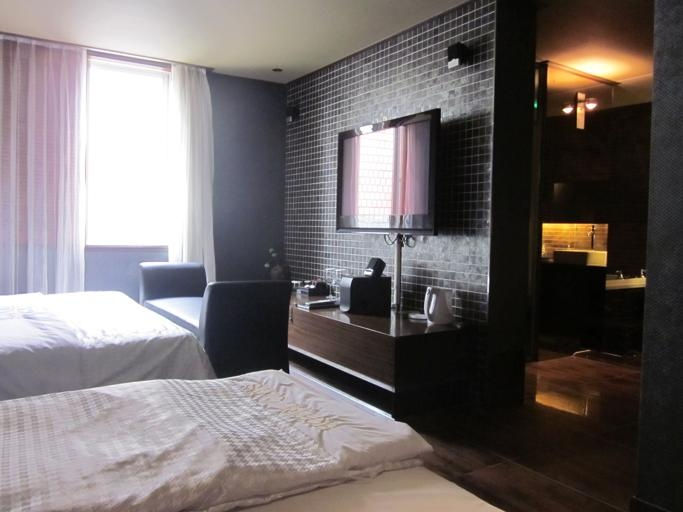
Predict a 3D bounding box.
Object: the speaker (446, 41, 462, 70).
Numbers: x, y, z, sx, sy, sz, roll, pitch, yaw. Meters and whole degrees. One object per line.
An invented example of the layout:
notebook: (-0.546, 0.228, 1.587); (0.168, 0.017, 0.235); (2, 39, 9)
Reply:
speaker: (0.826, -1.462, 3.751); (0.086, 0.166, 0.165); (3, 13, -7)

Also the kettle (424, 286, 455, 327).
kettle: (0.697, 0.363, 3.656); (0.275, 0.292, 0.165); (-4, 6, -30)

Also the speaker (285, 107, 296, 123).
speaker: (-0.556, -1.553, 5.640); (0.096, 0.207, 0.204); (1, -1, -25)

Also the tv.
tv: (0.397, -0.660, 4.098); (0.113, 0.863, 1.106); (0, 2, -29)

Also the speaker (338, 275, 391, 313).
speaker: (0.189, 0.310, 4.053); (0.458, 0.356, 0.253); (1, 2, -15)

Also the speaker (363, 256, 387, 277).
speaker: (0.266, 0.087, 4.128); (0.146, 0.153, 0.285); (5, 13, 3)

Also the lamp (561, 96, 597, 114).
lamp: (2.640, -1.668, 5.690); (0.351, 0.172, 0.082); (10, 14, 23)

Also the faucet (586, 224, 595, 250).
faucet: (2.930, -0.221, 6.005); (0.094, 0.280, 0.029); (12, 15, 32)

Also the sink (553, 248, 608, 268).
sink: (2.721, 0.014, 5.845); (0.567, 0.184, 0.209); (10, 14, 22)

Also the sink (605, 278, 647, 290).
sink: (2.846, 0.288, 5.177); (0.357, 0.124, 0.175); (9, 13, 16)
